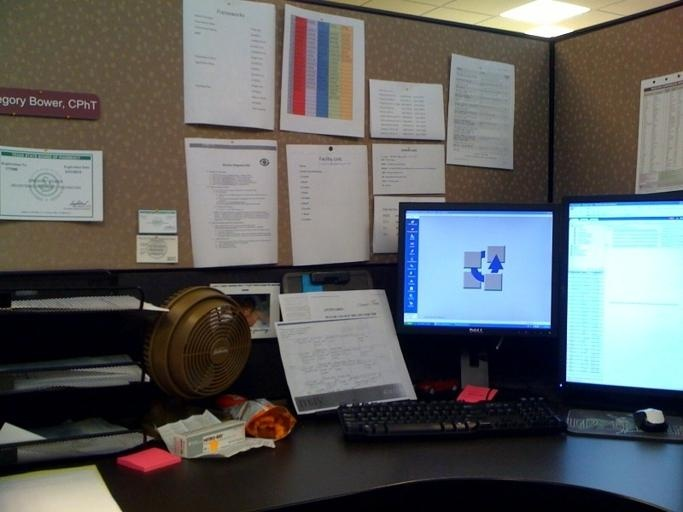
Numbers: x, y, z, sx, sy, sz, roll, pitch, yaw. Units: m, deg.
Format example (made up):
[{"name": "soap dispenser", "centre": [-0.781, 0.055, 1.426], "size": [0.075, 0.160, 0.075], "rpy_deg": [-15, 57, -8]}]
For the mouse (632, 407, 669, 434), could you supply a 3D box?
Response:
[{"name": "mouse", "centre": [0.605, 0.323, 1.067], "size": [0.037, 0.024, 0.055], "rpy_deg": [-1, 16, 12]}]

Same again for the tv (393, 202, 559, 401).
[{"name": "tv", "centre": [0.307, 0.091, 1.270], "size": [0.406, 0.550, 0.174], "rpy_deg": [0, -5, 1]}]
